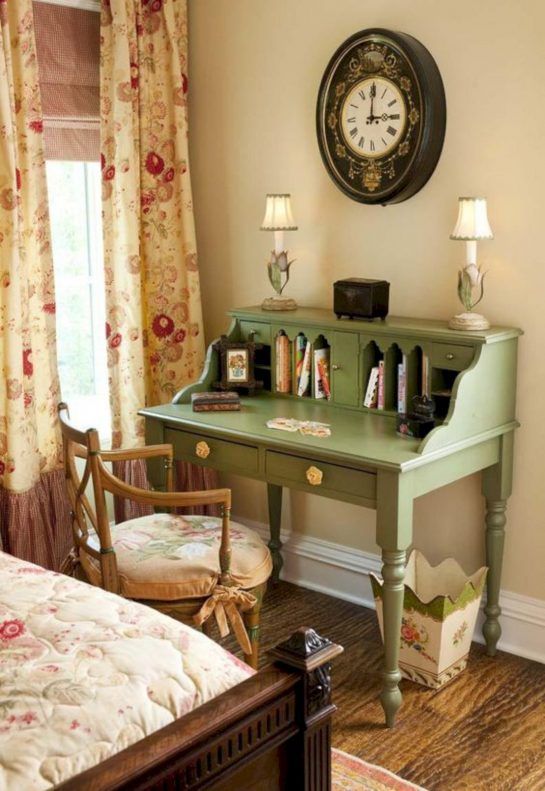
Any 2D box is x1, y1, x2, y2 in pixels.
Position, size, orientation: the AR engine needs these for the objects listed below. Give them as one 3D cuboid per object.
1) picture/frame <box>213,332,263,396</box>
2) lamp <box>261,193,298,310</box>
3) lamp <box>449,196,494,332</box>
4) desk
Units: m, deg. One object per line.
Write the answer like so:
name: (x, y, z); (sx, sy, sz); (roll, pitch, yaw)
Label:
picture/frame: (-0.147, -0.125, 2.711); (0.264, 0.357, 0.035); (-1, 8, -11)
lamp: (0.029, -0.620, 2.875); (0.175, 0.503, 0.398); (6, 0, -2)
lamp: (0.692, -0.451, 2.314); (0.144, 0.451, 0.351); (5, -1, 17)
desk: (0.179, 0.343, 2.524); (1.183, 1.175, 0.829); (8, 13, 42)
